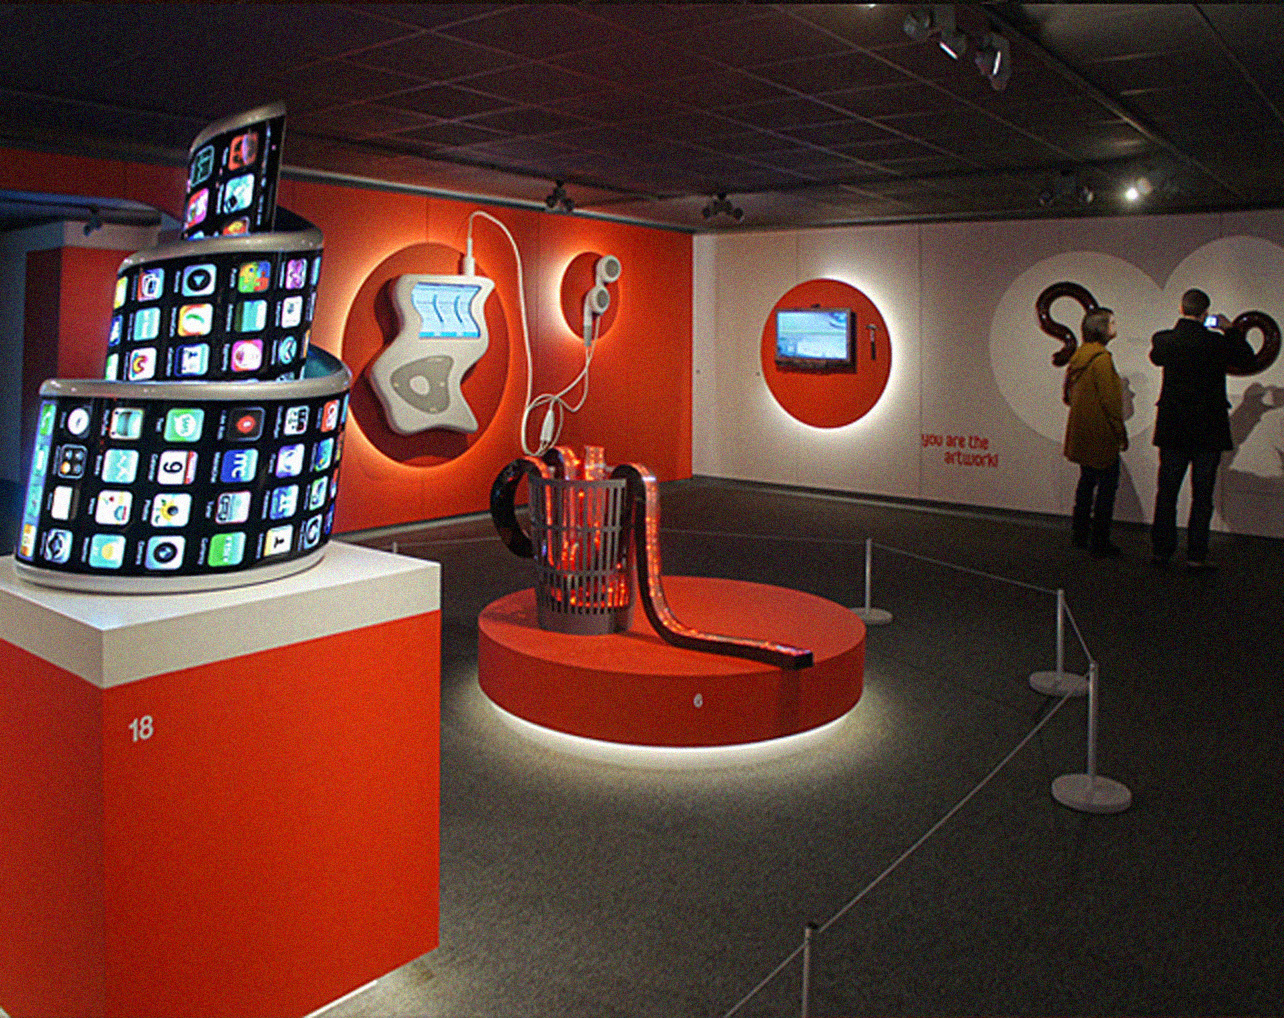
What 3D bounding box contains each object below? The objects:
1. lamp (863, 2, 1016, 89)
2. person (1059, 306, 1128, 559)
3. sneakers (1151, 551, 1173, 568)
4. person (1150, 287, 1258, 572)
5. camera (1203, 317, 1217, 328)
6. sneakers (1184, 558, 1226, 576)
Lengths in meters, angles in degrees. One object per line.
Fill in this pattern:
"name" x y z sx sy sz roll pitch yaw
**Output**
"lamp" 1.398 -2.131 4.340 0.396 0.252 1.078 9 14 41
"person" 3.972 -0.690 8.256 0.386 2.095 0.644 -1 9 -6
"sneakers" 4.292 0.416 7.811 0.100 0.074 0.134 0 4 15
"person" 4.430 -0.650 7.609 0.671 2.229 0.512 5 11 30
"camera" 4.907 -1.637 8.117 0.110 0.095 0.119 -4 6 6
"sneakers" 4.549 0.446 7.641 0.361 0.172 0.123 -10 13 -37
